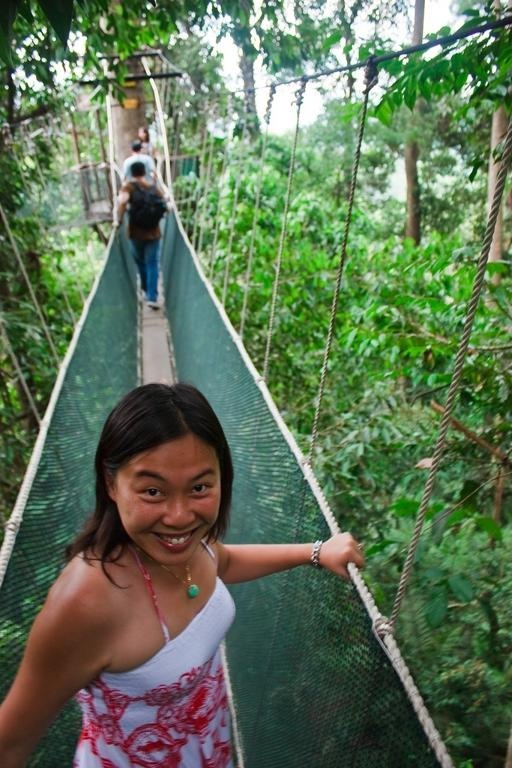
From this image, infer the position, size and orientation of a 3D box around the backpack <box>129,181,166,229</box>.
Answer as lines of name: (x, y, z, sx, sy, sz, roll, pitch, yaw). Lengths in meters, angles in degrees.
backpack: (-0.744, -1.215, 3.840, 0.258, 0.162, 0.328, -7, 22, -18)

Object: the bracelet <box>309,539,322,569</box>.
bracelet: (0.094, 0.285, 0.938, 0.020, 0.037, 0.031, 5, 0, 2)
